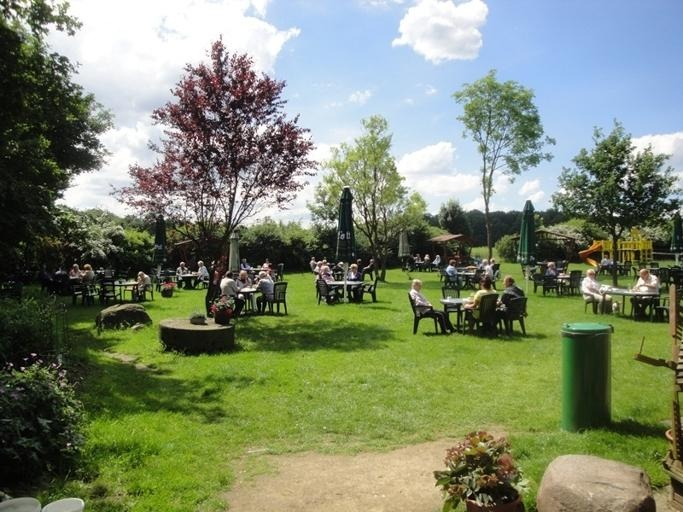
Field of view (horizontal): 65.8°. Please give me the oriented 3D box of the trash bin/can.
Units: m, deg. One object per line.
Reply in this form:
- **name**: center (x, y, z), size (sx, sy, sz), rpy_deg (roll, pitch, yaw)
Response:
- **trash bin/can**: center (3.473, 1.729, 7.447), size (0.655, 1.467, 0.369), rpy_deg (2, 8, 24)
